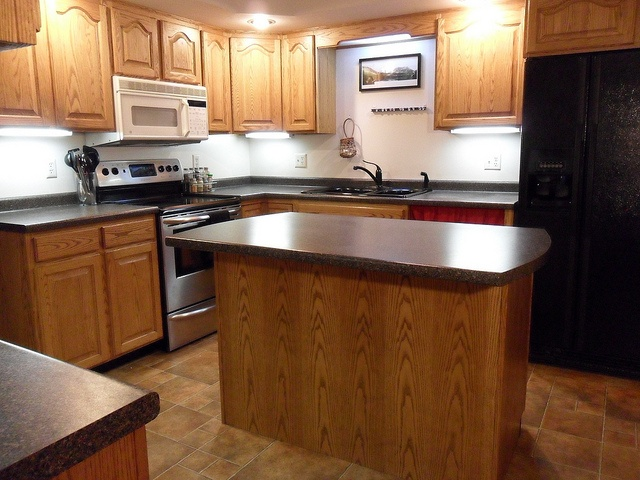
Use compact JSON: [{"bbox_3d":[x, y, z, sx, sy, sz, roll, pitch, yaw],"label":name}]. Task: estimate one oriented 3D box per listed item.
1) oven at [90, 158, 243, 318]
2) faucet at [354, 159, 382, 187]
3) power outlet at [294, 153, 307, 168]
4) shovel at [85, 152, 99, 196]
[{"bbox_3d":[-1.185,-0.001,3.769,1.120,1.311,1.098,-7,12,-31],"label":"oven"},{"bbox_3d":[0.453,-0.602,4.253,0.248,0.233,0.378,1,13,6],"label":"faucet"},{"bbox_3d":[-0.189,-0.801,4.670,0.144,0.157,0.018,2,5,26],"label":"power outlet"},{"bbox_3d":[-1.639,-0.493,3.357,0.079,0.328,0.095,11,17,42],"label":"shovel"}]
